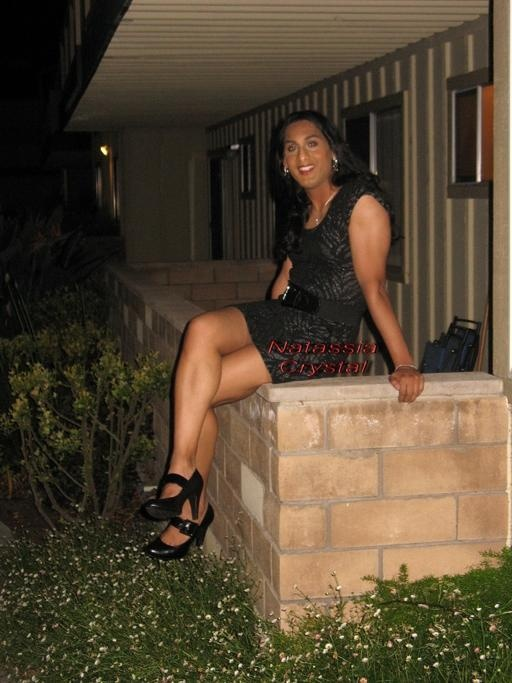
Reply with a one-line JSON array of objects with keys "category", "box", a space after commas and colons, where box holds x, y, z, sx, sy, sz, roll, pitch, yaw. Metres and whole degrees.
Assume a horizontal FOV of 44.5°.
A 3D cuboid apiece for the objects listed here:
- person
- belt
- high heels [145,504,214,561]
[{"category": "person", "box": [0.085, -0.027, 2.305, 1.096, 1.598, 0.838, -8, 19, -36]}, {"category": "belt", "box": [0.255, -0.132, 2.381, 0.226, 0.081, 0.166, 17, 1, -2]}, {"category": "high heels", "box": [-0.275, 0.714, 2.329, 0.098, 0.154, 0.296, 9, 4, 43]}]
